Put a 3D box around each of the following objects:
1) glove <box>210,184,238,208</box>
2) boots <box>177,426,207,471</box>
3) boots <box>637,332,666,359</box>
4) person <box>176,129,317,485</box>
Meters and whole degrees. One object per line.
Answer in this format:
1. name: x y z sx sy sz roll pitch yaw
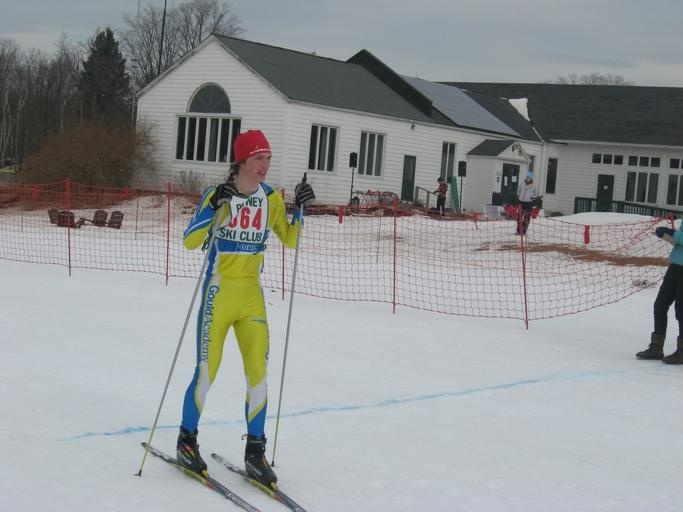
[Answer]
1. glove: -1.080 -0.550 7.079 0.240 0.226 0.116 0 11 -9
2. boots: -1.408 1.792 7.279 0.166 0.365 0.502 6 0 -38
3. boots: 4.233 1.253 10.870 0.445 0.456 0.229 5 1 13
4. person: -0.985 0.465 7.292 1.161 3.213 0.912 -2 11 -19
